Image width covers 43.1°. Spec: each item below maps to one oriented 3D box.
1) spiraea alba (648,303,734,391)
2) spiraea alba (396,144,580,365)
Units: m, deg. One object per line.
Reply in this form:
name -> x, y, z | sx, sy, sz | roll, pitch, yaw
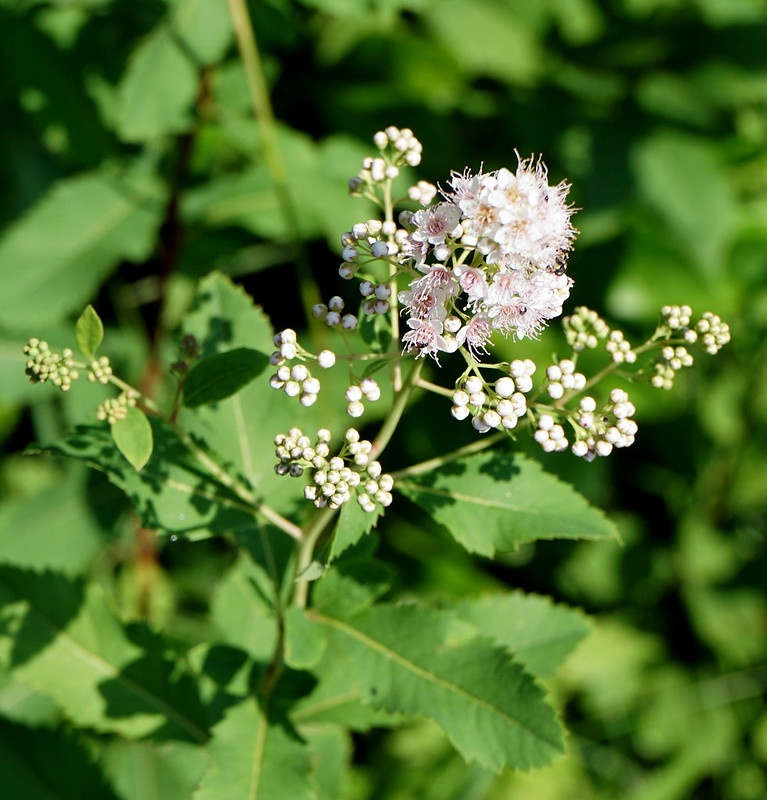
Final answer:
spiraea alba -> 1.444, -0.286, 4.797 | 0.477, 0.484, 0.218 | 1, 4, -4
spiraea alba -> 0.419, -0.552, 4.143 | 0.633, 0.878, 0.872 | 25, 49, 26
